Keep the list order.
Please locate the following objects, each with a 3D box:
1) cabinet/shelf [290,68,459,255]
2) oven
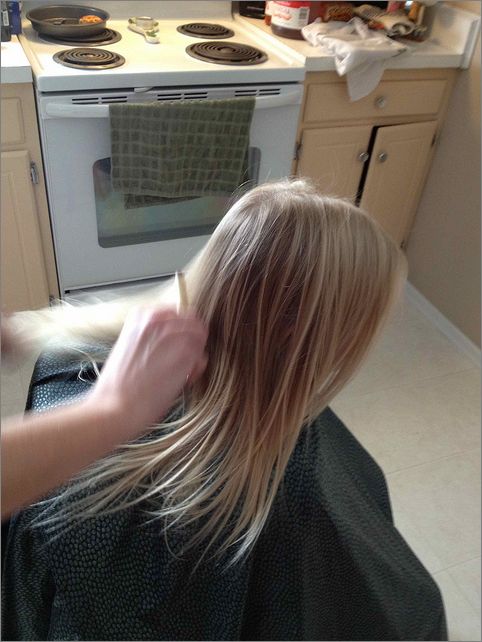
[{"bbox_3d":[0.472,-0.674,2.136,0.623,0.987,0.524,-6,39,-9],"label":"cabinet/shelf"},{"bbox_3d":[-0.107,-0.468,1.666,0.929,0.631,0.632,2,16,12],"label":"oven"}]
